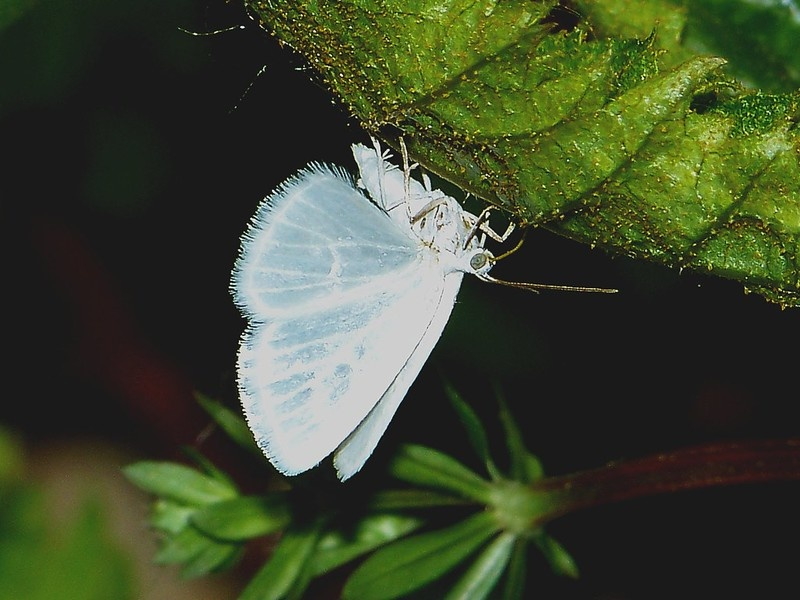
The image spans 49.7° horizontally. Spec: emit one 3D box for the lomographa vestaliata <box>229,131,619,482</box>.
[{"bbox_3d":[-0.020,0.026,1.022,0.327,0.385,0.190,12,-4,-35],"label":"lomographa vestaliata"}]
